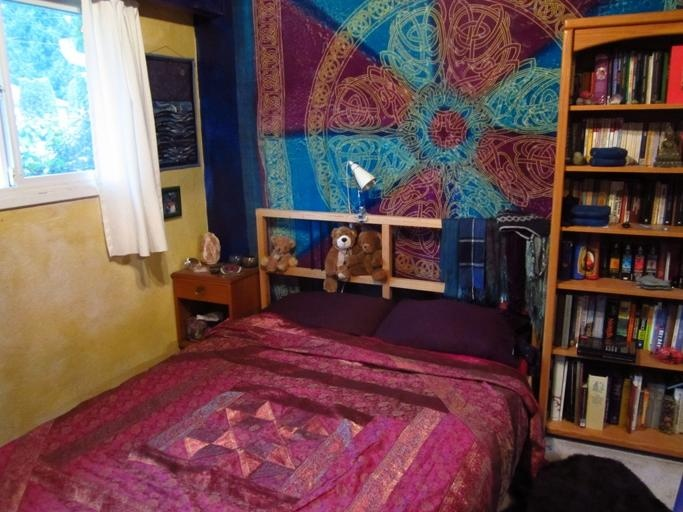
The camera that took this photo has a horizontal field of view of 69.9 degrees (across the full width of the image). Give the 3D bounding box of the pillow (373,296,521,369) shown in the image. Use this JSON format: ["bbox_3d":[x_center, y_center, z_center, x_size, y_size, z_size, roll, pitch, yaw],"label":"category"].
[{"bbox_3d":[0.582,0.403,2.714,0.514,0.142,0.386,7,40,22],"label":"pillow"}]

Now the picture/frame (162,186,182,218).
[{"bbox_3d":[-1.194,-0.380,3.416,0.018,0.251,0.245,4,6,28],"label":"picture/frame"}]

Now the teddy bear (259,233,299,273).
[{"bbox_3d":[-0.424,-0.026,3.524,0.287,0.289,0.239,6,11,16],"label":"teddy bear"}]

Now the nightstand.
[{"bbox_3d":[-0.929,0.247,3.682,0.677,0.715,0.550,4,11,22],"label":"nightstand"}]

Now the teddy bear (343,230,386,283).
[{"bbox_3d":[0.175,-0.031,3.312,0.346,0.369,0.298,9,18,26],"label":"teddy bear"}]

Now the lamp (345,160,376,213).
[{"bbox_3d":[0.124,-0.432,3.142,0.188,0.363,0.290,2,11,2],"label":"lamp"}]
